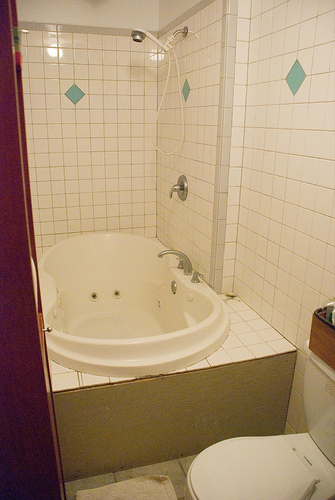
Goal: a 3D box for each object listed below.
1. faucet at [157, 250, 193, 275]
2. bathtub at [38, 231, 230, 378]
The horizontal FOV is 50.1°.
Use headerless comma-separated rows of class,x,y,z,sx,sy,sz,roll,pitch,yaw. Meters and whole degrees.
faucet,0.053,0.064,2.209,0.226,0.173,0.137,-4,23,-11
bathtub,-0.307,0.347,2.367,0.635,0.358,1.092,-6,23,-15
